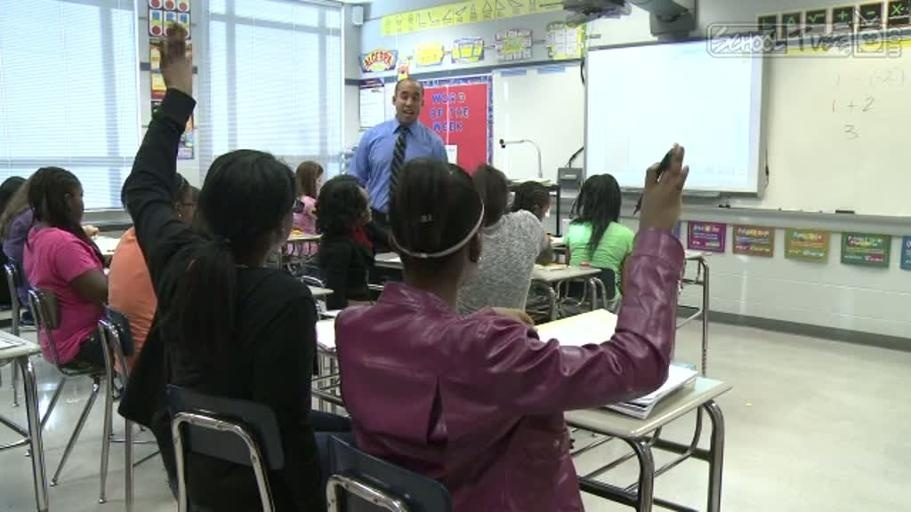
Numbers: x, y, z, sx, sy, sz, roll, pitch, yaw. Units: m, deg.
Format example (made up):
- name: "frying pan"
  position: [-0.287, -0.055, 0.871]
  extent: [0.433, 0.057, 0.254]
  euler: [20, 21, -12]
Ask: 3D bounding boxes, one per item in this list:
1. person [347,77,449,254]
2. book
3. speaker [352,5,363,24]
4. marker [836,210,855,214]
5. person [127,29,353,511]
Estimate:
- name: "person"
  position: [-0.541, -0.505, 6.083]
  extent: [1.060, 2.079, 0.660]
  euler: [5, 15, 6]
- name: "book"
  position: [0.742, 0.499, 3.547]
  extent: [0.611, 0.139, 0.621]
  euler: [-15, 20, -36]
- name: "speaker"
  position: [-1.427, -3.510, 9.712]
  extent: [0.216, 0.281, 0.067]
  euler: [2, 12, 15]
- name: "marker"
  position: [3.787, -0.439, 6.516]
  extent: [0.164, 0.040, 0.062]
  euler: [3, 11, 17]
- name: "person"
  position: [-1.054, 0.048, 3.067]
  extent: [1.070, 2.251, 0.624]
  euler: [9, 15, 39]
